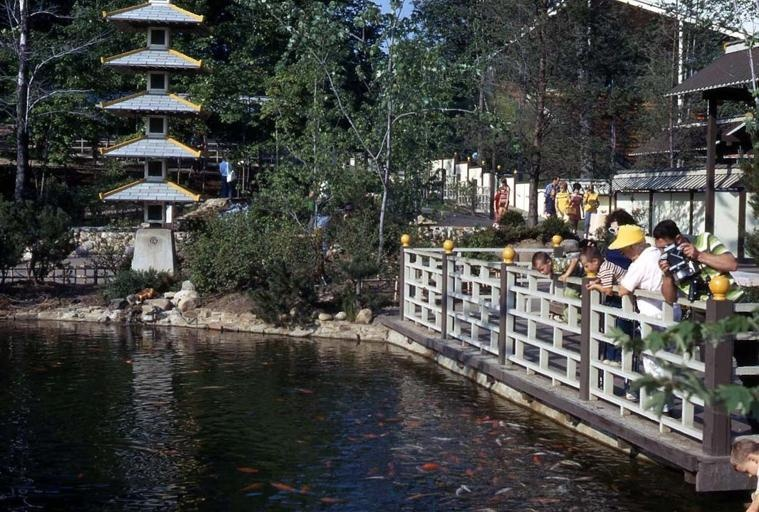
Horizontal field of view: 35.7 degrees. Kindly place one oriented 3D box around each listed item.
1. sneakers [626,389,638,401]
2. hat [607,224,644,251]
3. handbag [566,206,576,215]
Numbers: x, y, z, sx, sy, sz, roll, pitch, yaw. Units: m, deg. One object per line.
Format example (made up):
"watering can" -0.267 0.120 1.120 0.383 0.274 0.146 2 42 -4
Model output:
"sneakers" 5.840 3.257 27.759 0.266 0.260 0.356 0 2 -33
"hat" 5.773 -0.462 27.584 0.702 0.579 0.735 1 2 -1
"handbag" 7.958 -1.886 49.070 0.309 0.208 0.253 -1 5 3
